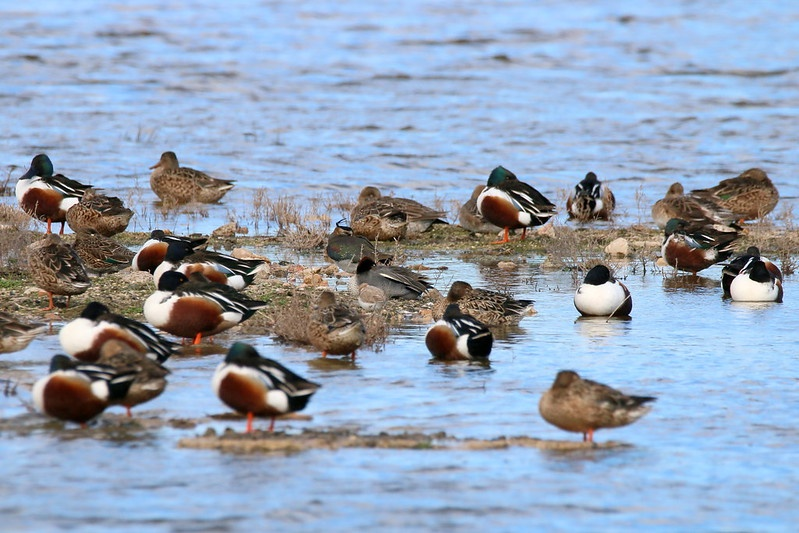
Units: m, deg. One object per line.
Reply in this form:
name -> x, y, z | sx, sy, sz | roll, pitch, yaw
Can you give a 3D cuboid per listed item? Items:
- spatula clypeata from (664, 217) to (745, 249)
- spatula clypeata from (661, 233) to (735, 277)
spatula clypeata -> 6.058, -0.657, 21.772 | 1.541, 0.538, 0.712 | -4, 69, 12
spatula clypeata -> 5.800, -0.273, 21.411 | 1.424, 0.640, 0.804 | -7, 81, 11
